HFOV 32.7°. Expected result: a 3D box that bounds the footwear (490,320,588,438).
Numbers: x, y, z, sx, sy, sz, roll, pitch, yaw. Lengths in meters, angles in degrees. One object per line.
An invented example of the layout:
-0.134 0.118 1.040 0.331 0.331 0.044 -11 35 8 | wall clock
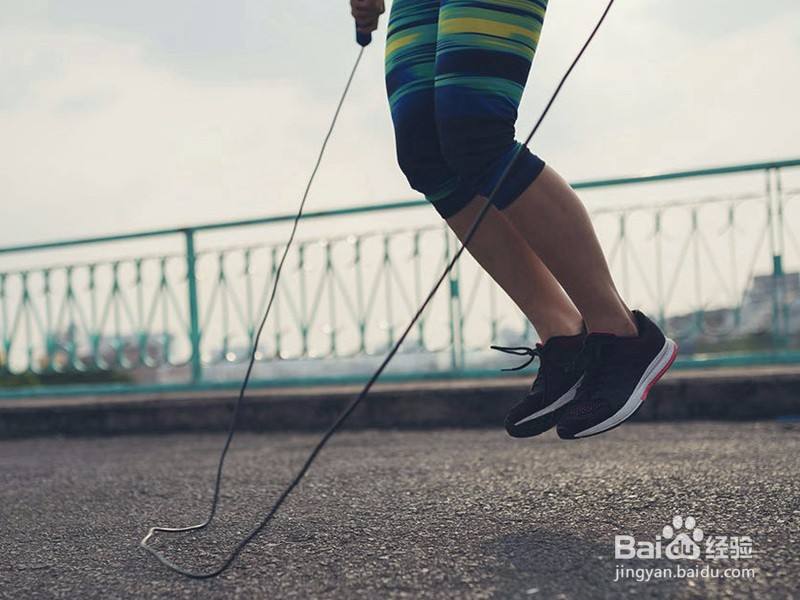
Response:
0.704 0.387 6.366 0.221 0.428 0.652 -5 -20 -22 | footwear
